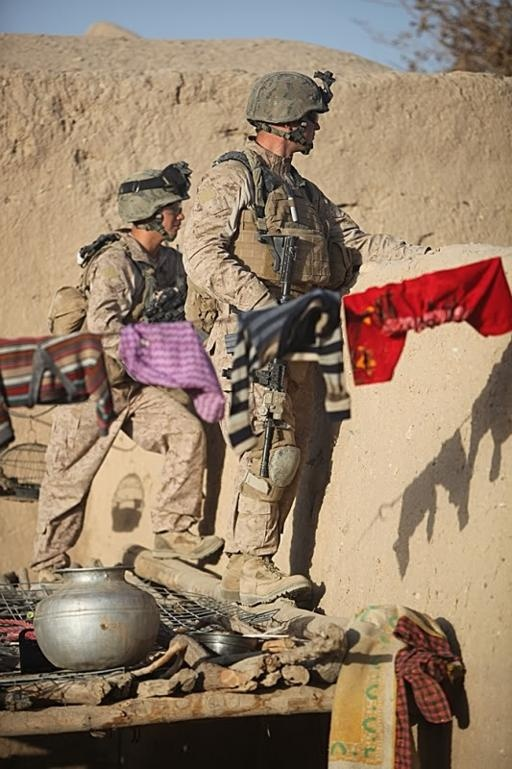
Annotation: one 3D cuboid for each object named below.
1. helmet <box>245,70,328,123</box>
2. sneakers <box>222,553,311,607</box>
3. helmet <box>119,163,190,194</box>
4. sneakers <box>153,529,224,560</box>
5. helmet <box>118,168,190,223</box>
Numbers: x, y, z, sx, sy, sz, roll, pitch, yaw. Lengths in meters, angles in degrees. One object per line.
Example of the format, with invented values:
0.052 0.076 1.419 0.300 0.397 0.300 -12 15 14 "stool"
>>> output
0.185 -1.419 6.580 0.388 0.177 0.259 -12 19 -13 "helmet"
0.049 0.942 6.473 0.487 0.252 0.177 -6 -8 39 "sneakers"
-0.562 -1.189 7.517 0.304 0.144 0.225 -16 3 -9 "helmet"
-0.397 0.896 7.508 0.415 0.163 0.160 -3 1 8 "sneakers"
-0.567 -1.060 7.505 0.390 0.240 0.341 -4 2 -8 "helmet"
